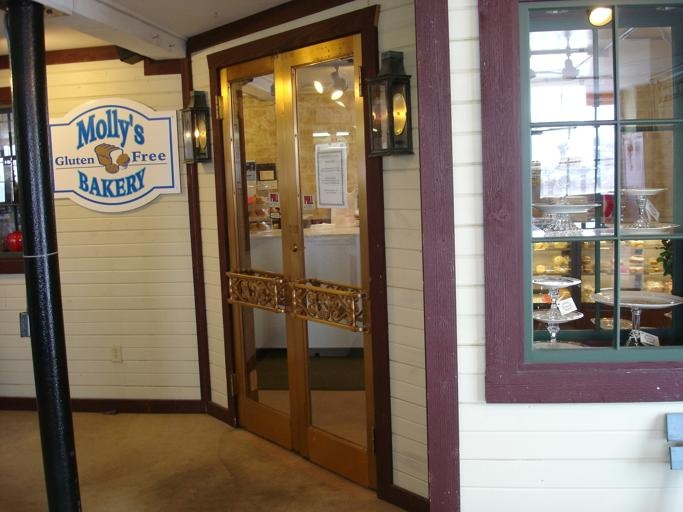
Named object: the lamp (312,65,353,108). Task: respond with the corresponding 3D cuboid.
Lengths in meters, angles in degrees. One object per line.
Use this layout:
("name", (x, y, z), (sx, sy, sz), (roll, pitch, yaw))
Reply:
("lamp", (-0.038, -1.067, 4.040), (0.322, 0.232, 0.136), (26, 23, 36))

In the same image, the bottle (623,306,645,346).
("bottle", (1.380, 0.319, 2.999), (0.072, 0.182, 0.081), (2, 14, 20))

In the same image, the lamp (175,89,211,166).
("lamp", (-1.057, -0.991, 4.950), (0.307, 0.545, 0.234), (6, 13, 34))

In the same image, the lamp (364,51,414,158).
("lamp", (0.279, -0.864, 3.630), (0.228, 0.571, 0.154), (-4, 14, -5))

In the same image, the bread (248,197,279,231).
("bread", (-0.548, -0.305, 4.608), (0.127, 0.209, 0.218), (-20, 27, -39))
